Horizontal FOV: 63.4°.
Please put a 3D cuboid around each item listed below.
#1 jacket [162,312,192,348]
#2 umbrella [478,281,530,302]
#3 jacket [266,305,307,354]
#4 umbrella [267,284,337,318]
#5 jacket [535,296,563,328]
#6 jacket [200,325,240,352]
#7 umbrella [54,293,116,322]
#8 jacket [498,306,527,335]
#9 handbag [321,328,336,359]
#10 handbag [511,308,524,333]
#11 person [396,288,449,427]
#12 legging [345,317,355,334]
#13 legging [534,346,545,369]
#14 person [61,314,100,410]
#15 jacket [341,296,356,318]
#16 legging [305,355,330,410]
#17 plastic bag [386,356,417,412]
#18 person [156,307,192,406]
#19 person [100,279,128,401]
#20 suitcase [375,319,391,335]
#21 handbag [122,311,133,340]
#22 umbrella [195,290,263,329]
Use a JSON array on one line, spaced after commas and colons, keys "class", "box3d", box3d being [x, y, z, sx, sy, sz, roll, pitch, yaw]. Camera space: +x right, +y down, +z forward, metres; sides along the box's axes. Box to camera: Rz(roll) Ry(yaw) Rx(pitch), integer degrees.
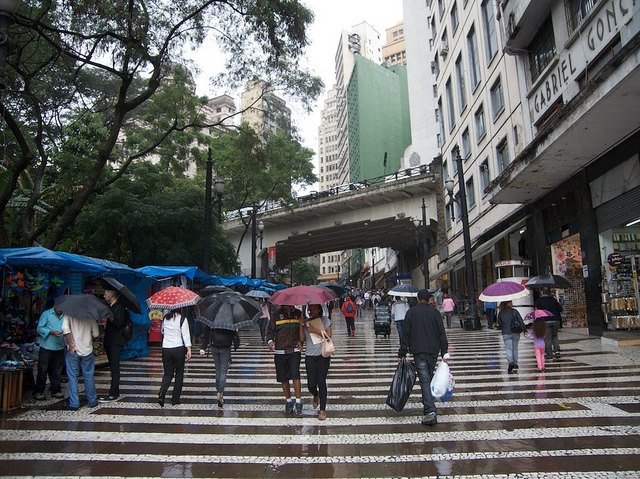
[{"class": "jacket", "box3d": [-3.007, 1.795, 10.698, 0.663, 0.730, 0.416, 5, 14, 13]}, {"class": "umbrella", "box3d": [4.500, 1.280, 12.710, 1.092, 0.465, 0.778, -1, 0, 26]}, {"class": "jacket", "box3d": [-0.545, 1.746, 10.499, 1.003, 1.262, 0.732, -1, -23, 2]}, {"class": "umbrella", "box3d": [-0.349, 1.080, 10.131, 0.787, 0.563, 0.843, 0, -3, 8]}, {"class": "jacket", "box3d": [6.454, 1.884, 14.498, 0.648, 0.825, 0.531, -5, 24, 27]}, {"class": "jacket", "box3d": [-2.154, 2.073, 11.114, 0.708, 0.709, 1.354, -1, 0, -15]}, {"class": "umbrella", "box3d": [-4.802, 1.365, 10.649, 0.724, 0.305, 0.746, 22, 13, 20]}, {"class": "jacket", "box3d": [4.707, 2.023, 12.774, 0.584, 0.749, 0.257, -11, -33, 29]}, {"class": "handbag", "box3d": [0.139, 1.978, 9.957, 0.234, 0.425, 0.464, -1, 0, 0]}, {"class": "handbag", "box3d": [4.846, 1.991, 12.697, 0.292, 0.546, 0.206, -1, 0, 17]}, {"class": "person", "box3d": [1.969, 2.131, 9.653, 0.807, 2.171, 0.794, -2, -1, 44]}, {"class": "legging", "box3d": [1.352, 3.824, 23.153, 0.277, 0.622, 0.647, -1, 0, 10]}, {"class": "legging", "box3d": [5.406, 2.880, 12.698, 0.175, 0.553, 0.207, -1, -1, 41]}, {"class": "person", "box3d": [-4.910, 2.454, 10.573, 0.691, 1.890, 0.624, -1, 0, -28]}, {"class": "jacket", "box3d": [1.276, 2.969, 22.953, 0.781, 1.261, 0.612, -1, -14, 1]}, {"class": "legging", "box3d": [-0.041, 2.686, 9.917, 0.465, 0.778, 0.322, -1, 0, 43]}, {"class": "plastic bag", "box3d": [1.509, 2.654, 9.581, 0.582, 0.852, 0.350, -1, 0, -5]}, {"class": "person", "box3d": [-2.973, 2.368, 10.544, 0.633, 2.012, 0.411, -1, 0, -17]}, {"class": "person", "box3d": [-4.459, 2.114, 11.189, 0.569, 2.557, 0.460, -1, -1, -25]}, {"class": "suitcase", "box3d": [2.598, 3.601, 21.255, 0.709, 0.753, 0.577, -1, -20, 8]}, {"class": "handbag", "box3d": [-4.161, 1.890, 11.316, 0.288, 0.456, 0.156, -4, 0, 24]}, {"class": "umbrella", "box3d": [-1.898, 1.473, 10.698, 1.290, 0.506, 0.849, -1, 0, -16]}]
